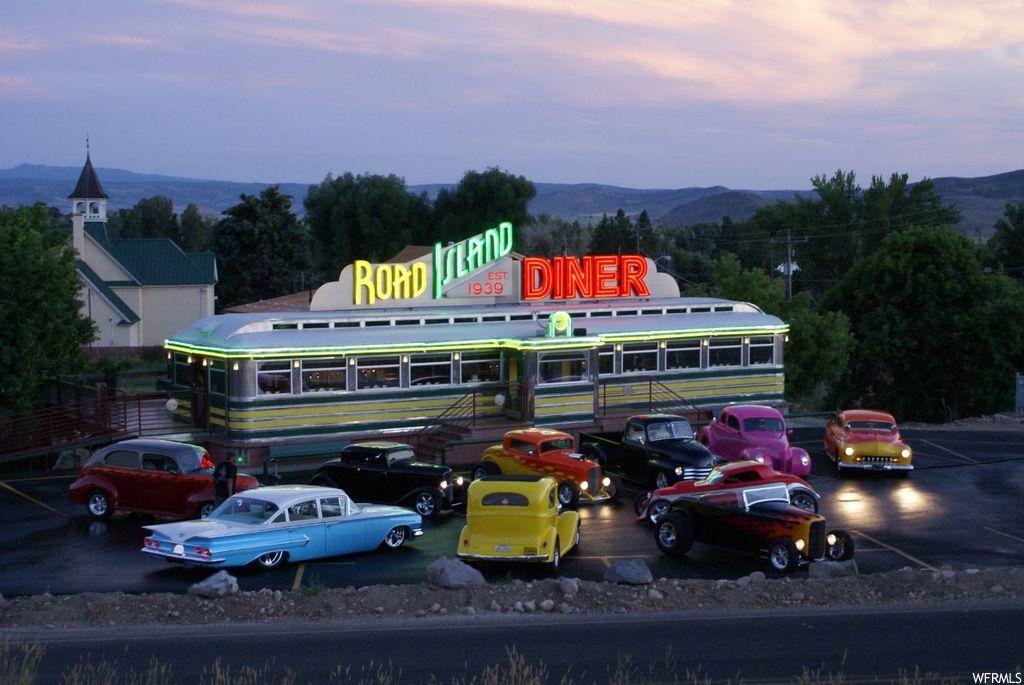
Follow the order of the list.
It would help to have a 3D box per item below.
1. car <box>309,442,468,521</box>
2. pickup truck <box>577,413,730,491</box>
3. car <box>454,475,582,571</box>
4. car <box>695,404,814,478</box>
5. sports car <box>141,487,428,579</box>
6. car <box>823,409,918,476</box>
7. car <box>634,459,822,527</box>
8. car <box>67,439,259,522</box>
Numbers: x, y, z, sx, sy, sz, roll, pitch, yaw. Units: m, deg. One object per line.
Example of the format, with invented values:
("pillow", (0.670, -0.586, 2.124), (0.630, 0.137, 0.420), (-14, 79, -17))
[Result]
("car", (-4.492, 4.660, 50.277), (5.712, 2.153, 3.065), (2, 9, 23))
("pickup truck", (5.287, 4.006, 53.179), (3.361, 2.716, 5.988), (-5, 10, -37))
("car", (0.061, 5.737, 44.531), (3.608, 2.838, 1.760), (-2, 9, -4))
("car", (9.073, 3.748, 53.804), (2.294, 1.877, 3.857), (-1, 5, -24))
("sports car", (-7.005, 5.881, 44.438), (8.446, 2.377, 2.767), (1, -1, -41))
("car", (13.909, 3.642, 56.195), (2.699, 1.955, 5.432), (1, 11, 3))
("car", (7.312, 5.195, 47.053), (5.599, 1.966, 2.380), (-1, -2, -2))
("car", (-12.014, 4.553, 48.853), (6.206, 2.344, 2.664), (3, 9, 11))
